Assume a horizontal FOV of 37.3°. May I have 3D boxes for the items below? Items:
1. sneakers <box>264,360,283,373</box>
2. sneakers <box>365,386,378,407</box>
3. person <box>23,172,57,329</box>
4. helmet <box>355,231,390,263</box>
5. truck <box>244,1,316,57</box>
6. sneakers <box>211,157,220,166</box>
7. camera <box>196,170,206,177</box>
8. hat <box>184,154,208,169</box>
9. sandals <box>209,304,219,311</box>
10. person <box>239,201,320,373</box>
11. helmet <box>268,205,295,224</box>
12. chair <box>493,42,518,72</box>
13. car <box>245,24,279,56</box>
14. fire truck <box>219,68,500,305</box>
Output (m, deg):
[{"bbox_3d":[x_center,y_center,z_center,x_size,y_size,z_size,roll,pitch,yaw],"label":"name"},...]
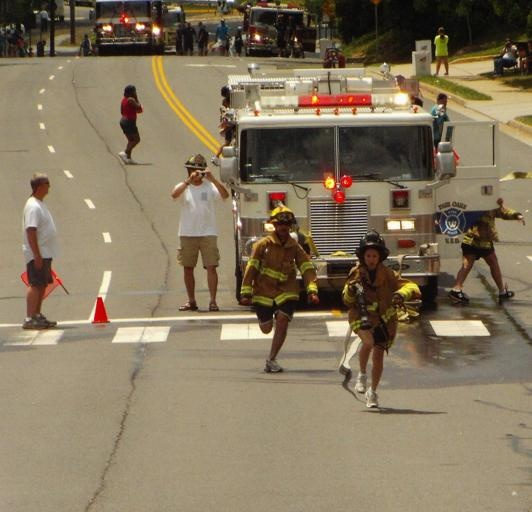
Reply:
[{"bbox_3d":[0.075,1.135,8.119,0.203,0.152,0.100,-1,7,-1],"label":"sneakers"},{"bbox_3d":[0.918,1.239,6.928,0.082,0.085,0.194,3,25,-12],"label":"sneakers"},{"bbox_3d":[-2.969,-0.029,10.214,0.403,2.022,0.491,1,7,14],"label":"person"},{"bbox_3d":[0.886,-0.074,6.525,0.202,0.182,0.273,0,-16,3],"label":"helmet"},{"bbox_3d":[0.674,-13.011,46.261,2.728,2.032,4.483,0,4,-3],"label":"truck"},{"bbox_3d":[-0.762,-1.414,11.812,0.104,0.141,0.309,1,9,-3],"label":"sneakers"},{"bbox_3d":[-0.859,-1.115,10.686,0.142,0.085,0.076,4,8,31],"label":"camera"},{"bbox_3d":[-0.978,-1.300,10.955,0.267,0.206,0.447,-1,7,-3],"label":"hat"},{"bbox_3d":[-0.748,0.732,11.161,0.085,0.107,0.252,-1,-7,-6],"label":"sandals"},{"bbox_3d":[0.128,0.355,7.903,0.755,1.723,0.597,0,7,3],"label":"person"},{"bbox_3d":[0.165,-0.397,7.735,0.224,0.189,0.390,0,7,3],"label":"helmet"},{"bbox_3d":[10.925,-8.841,35.395,0.682,1.709,0.626,-3,-3,23],"label":"chair"},{"bbox_3d":[-0.264,-12.302,45.400,1.178,0.965,1.943,0,3,-8],"label":"car"},{"bbox_3d":[1.130,-1.772,13.779,3.633,3.241,7.052,-2,17,-4],"label":"fire truck"}]
